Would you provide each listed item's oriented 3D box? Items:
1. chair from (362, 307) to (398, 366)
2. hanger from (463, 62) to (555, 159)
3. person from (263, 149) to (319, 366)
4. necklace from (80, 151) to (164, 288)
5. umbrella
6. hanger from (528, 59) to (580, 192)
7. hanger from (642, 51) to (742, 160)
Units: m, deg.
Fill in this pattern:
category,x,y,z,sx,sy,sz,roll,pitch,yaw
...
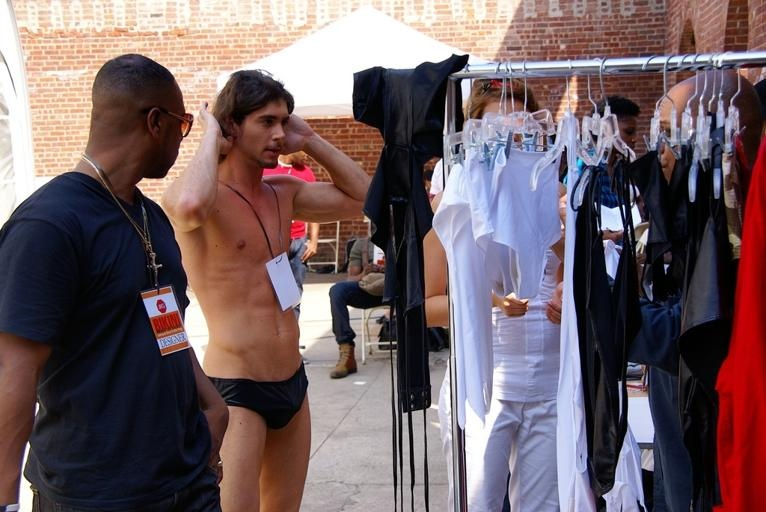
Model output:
category,x,y,z,sx,sy,sz,roll,pitch,yaw
chair,-0.080,0.880,7.979,0.652,0.537,0.512,0,-6,-3
hanger,0.582,-0.603,3.140,0.299,0.395,0.400,0,2,-18
person,-0.704,0.074,6.912,0.642,1.530,0.340,8,-19,-10
necklace,-0.830,-0.090,2.455,0.162,0.576,0.014,-17,19,13
umbrella,-0.374,-1.995,7.958,2.105,0.977,2.171,0,15,1
hanger,0.672,-0.420,2.892,0.200,0.328,0.175,-5,8,-13
hanger,1.272,-0.607,2.946,0.338,0.499,0.479,0,11,31
